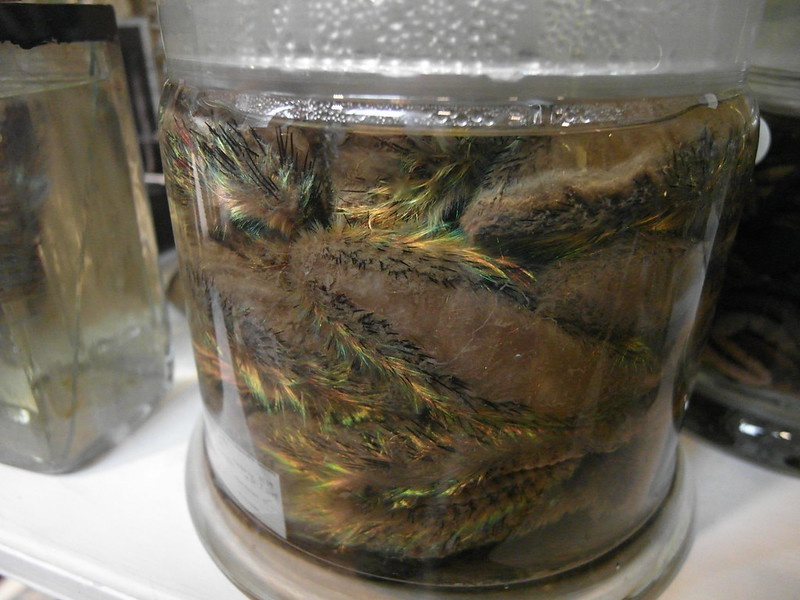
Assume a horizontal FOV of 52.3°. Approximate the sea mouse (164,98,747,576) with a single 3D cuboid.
[{"bbox_3d":[0.040,-0.025,0.577,0.375,0.330,0.353,-7,23,-20],"label":"sea mouse"}]
